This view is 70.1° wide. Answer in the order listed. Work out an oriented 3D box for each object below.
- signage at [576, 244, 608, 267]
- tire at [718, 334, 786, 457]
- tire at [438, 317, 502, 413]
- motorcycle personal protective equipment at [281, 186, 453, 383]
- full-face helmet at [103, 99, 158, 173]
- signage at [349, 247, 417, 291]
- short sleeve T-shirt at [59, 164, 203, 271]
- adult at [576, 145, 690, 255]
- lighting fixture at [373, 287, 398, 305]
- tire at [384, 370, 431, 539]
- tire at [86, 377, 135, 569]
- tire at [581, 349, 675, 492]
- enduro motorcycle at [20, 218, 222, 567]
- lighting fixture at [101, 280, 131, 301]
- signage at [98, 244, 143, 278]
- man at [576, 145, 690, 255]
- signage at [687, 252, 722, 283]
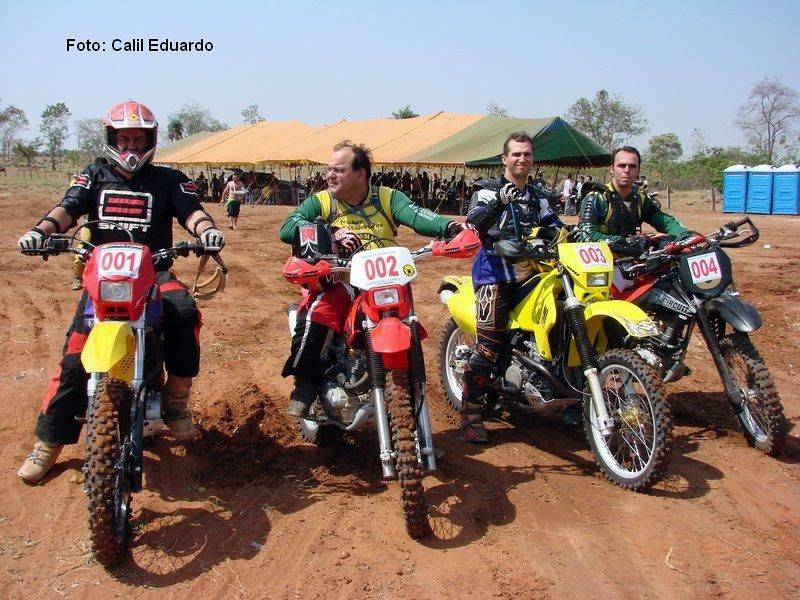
[{"bbox_3d":[1.532,-0.351,4.546,0.246,0.163,0.151,-2,11,-21],"label":"signage"},{"bbox_3d":[3.196,0.812,5.092,0.370,1.005,0.613,-4,12,-28],"label":"tire"},{"bbox_3d":[0.701,0.635,5.557,0.224,1.009,1.091,7,-5,-28],"label":"tire"},{"bbox_3d":[-0.408,-0.304,5.314,1.335,1.088,1.831,2,4,-11],"label":"motorcycle personal protective equipment"},{"bbox_3d":[-2.118,-1.270,4.470,0.369,0.544,0.276,-4,12,-25],"label":"full-face helmet"},{"bbox_3d":[-0.119,-0.213,3.947,0.452,0.287,0.229,0,10,-6],"label":"signage"},{"bbox_3d":[-2.193,-0.706,4.711,1.118,0.819,0.594,7,26,1],"label":"short sleeve T-shirt"},{"bbox_3d":[2.520,-1.093,6.326,1.453,1.044,0.770,-10,18,-20],"label":"adult"},{"bbox_3d":[-0.104,-0.027,3.862,0.134,0.082,0.017,-1,-1,-1],"label":"lighting fixture"},{"bbox_3d":[0.045,1.038,3.845,0.277,1.043,0.489,-10,-22,0],"label":"tire"},{"bbox_3d":[-1.797,1.086,3.543,0.279,1.144,0.422,-4,12,-25],"label":"tire"},{"bbox_3d":[1.780,0.954,4.468,0.231,0.813,0.798,2,49,-36],"label":"tire"},{"bbox_3d":[-1.775,0.581,3.887,0.960,2.039,1.240,-2,11,-19],"label":"enduro motorcycle"},{"bbox_3d":[-1.818,-0.053,3.643,0.183,0.129,0.027,1,11,-4],"label":"lighting fixture"},{"bbox_3d":[-1.818,-0.241,3.690,0.312,0.055,0.274,0,43,-12],"label":"signage"},{"bbox_3d":[2.505,-1.089,6.310,1.458,1.030,0.750,-13,19,-25],"label":"man"},{"bbox_3d":[2.730,-0.273,5.106,0.265,0.236,0.012,-12,-19,6],"label":"signage"}]
